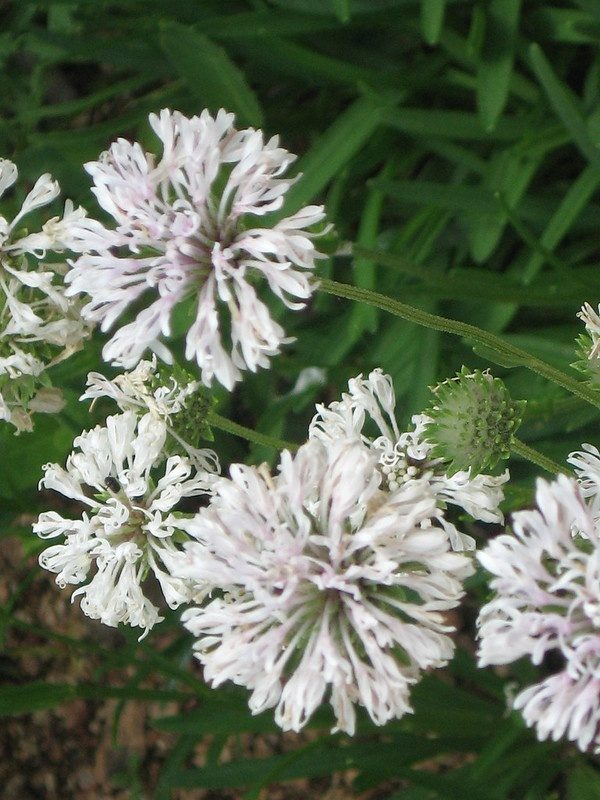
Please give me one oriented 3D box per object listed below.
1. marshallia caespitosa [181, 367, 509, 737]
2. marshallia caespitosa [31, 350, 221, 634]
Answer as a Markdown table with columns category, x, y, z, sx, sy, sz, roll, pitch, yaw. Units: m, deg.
| category | x | y | z | sx | sy | sz | roll | pitch | yaw |
| --- | --- | --- | --- | --- | --- | --- | --- | --- | --- |
| marshallia caespitosa | 0.037 | 0.175 | 1.005 | 0.372 | 0.298 | 0.372 | 14 | 87 | 1 |
| marshallia caespitosa | -0.169 | 0.127 | 1.157 | 0.267 | 0.171 | 0.350 | -2 | 73 | 32 |
